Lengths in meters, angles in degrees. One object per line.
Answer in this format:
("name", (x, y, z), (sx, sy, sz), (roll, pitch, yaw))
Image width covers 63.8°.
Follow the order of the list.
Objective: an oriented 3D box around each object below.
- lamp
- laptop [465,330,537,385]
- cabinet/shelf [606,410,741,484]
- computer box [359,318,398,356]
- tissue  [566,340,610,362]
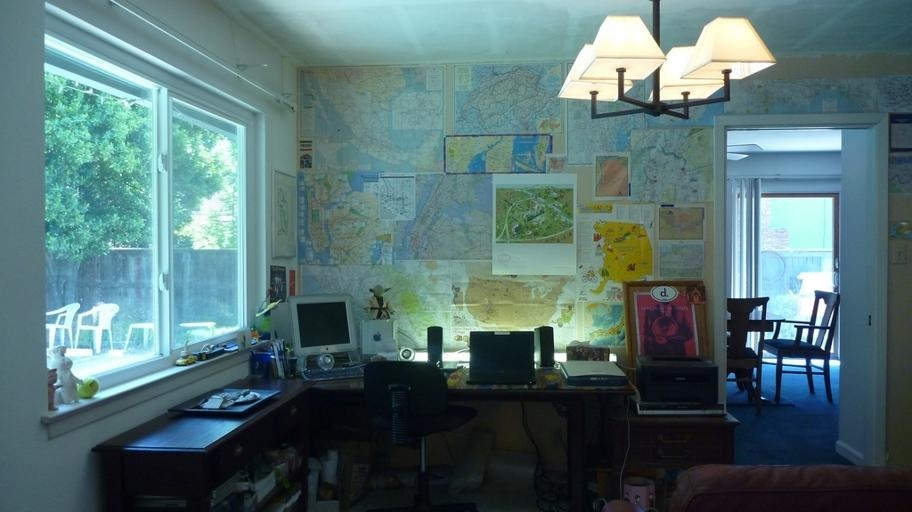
("lamp", (1.498, -1.465, 5.320), (1.345, 0.871, 0.675), (-2, 0, -9))
("laptop", (0.392, 0.856, 6.171), (0.639, 0.391, 0.409), (1, -4, 1))
("cabinet/shelf", (1.834, 1.565, 6.120), (0.926, 0.725, 0.620), (-1, -3, 3))
("computer box", (-0.666, 0.761, 6.805), (0.402, 0.342, 0.285), (-3, -7, 19))
("tissue ", (1.175, 0.793, 6.552), (0.323, 0.184, 0.162), (1, 8, 5))
